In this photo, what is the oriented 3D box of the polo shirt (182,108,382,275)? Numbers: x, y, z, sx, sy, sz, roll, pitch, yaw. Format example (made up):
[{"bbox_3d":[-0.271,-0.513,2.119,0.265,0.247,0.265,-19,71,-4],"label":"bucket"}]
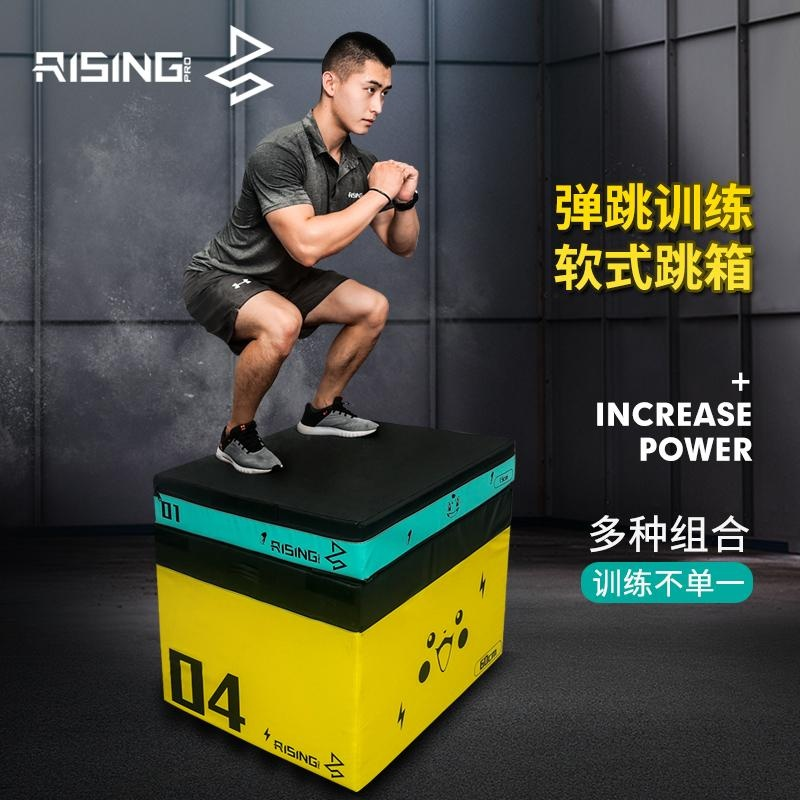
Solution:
[{"bbox_3d":[-0.336,-0.581,2.580,0.496,0.595,0.477,23,15,12],"label":"polo shirt"}]

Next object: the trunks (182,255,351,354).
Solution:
[{"bbox_3d":[-0.479,-0.317,2.497,0.324,0.123,0.341,20,18,13],"label":"trunks"}]

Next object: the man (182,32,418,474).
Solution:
[{"bbox_3d":[-0.284,-0.460,2.510,0.742,1.243,0.594,-2,7,-18],"label":"man"}]

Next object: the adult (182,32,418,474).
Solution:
[{"bbox_3d":[-0.283,-0.460,2.510,0.743,1.243,0.594,-2,7,-18],"label":"adult"}]

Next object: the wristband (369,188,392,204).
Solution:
[{"bbox_3d":[-0.057,-0.596,2.365,0.064,0.040,0.053,0,7,-1],"label":"wristband"}]

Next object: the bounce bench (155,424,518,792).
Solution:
[{"bbox_3d":[-0.191,0.521,2.433,0.782,0.768,0.884,5,9,34],"label":"bounce bench"}]

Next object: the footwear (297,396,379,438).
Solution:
[{"bbox_3d":[-0.214,0.046,2.716,0.295,0.168,0.117,3,4,11],"label":"footwear"}]

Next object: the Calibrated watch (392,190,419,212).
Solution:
[{"bbox_3d":[0.023,-0.644,2.641,0.067,0.036,0.084,-16,6,27],"label":"Calibrated watch"}]

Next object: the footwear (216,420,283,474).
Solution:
[{"bbox_3d":[-0.443,0.133,2.348,0.101,0.136,0.265,-3,14,-44],"label":"footwear"}]
